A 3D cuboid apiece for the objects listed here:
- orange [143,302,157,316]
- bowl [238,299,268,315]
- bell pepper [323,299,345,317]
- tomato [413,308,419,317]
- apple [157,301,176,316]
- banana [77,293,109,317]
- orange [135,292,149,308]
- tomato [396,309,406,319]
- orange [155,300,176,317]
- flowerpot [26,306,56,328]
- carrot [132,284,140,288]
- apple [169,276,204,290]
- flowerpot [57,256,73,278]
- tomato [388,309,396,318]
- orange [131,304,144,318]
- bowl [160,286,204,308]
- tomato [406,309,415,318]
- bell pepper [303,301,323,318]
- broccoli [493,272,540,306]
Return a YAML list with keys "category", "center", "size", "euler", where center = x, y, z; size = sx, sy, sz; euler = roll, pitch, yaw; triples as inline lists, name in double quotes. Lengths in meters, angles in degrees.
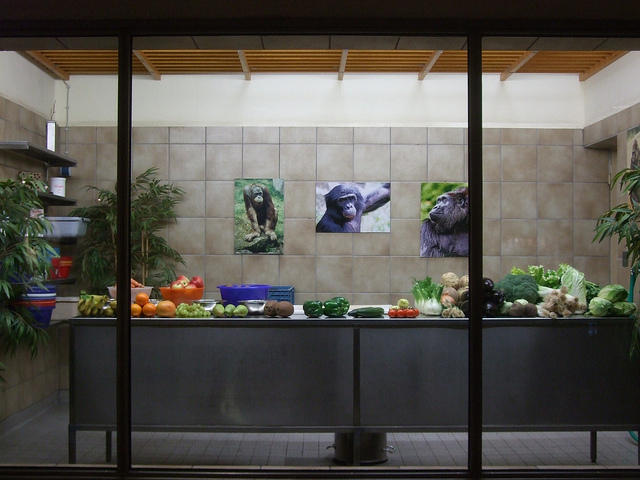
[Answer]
- category: "orange"
  center: [-1.114, 0.453, 3.789]
  size: [0.073, 0.080, 0.077]
  euler: [6, 11, -8]
- category: "bowl"
  center: [-0.452, 0.449, 3.864]
  size: [0.178, 0.085, 0.092]
  euler: [-2, -2, 5]
- category: "bell pepper"
  center: [0.096, 0.445, 3.826]
  size: [0.114, 0.099, 0.089]
  euler: [4, 3, -8]
- category: "tomato"
  center: [0.634, 0.474, 3.826]
  size: [0.020, 0.039, 0.038]
  euler: [4, -24, 9]
- category: "apple"
  center: [-1.011, 0.449, 3.792]
  size: [0.084, 0.089, 0.087]
  euler: [-5, 4, -26]
- category: "banana"
  center: [-1.501, 0.403, 3.861]
  size: [0.160, 0.140, 0.139]
  euler: [41, 6, 17]
- category: "orange"
  center: [-1.174, 0.393, 3.826]
  size: [0.075, 0.096, 0.076]
  euler: [0, 9, 3]
- category: "tomato"
  center: [0.527, 0.480, 3.787]
  size: [0.050, 0.051, 0.052]
  euler: [0, 13, -13]
- category: "orange"
  center: [-1.019, 0.436, 3.826]
  size: [0.095, 0.103, 0.102]
  euler: [-6, 3, -3]
- category: "flowerpot"
  center: [-2.121, 0.583, 4.426]
  size: [0.144, 0.121, 0.152]
  euler: [0, -2, 1]
- category: "carrot"
  center: [-1.276, 0.317, 4.016]
  size: [0.034, 0.019, 0.018]
  euler: [-1, 8, -21]
- category: "apple"
  center: [-1.000, 0.318, 4.322]
  size: [0.136, 0.081, 0.147]
  euler: [-1, -6, 1]
- category: "flowerpot"
  center: [-2.148, 0.226, 4.879]
  size: [0.079, 0.181, 0.251]
  euler: [-1, -2, -12]
- category: "tomato"
  center: [0.469, 0.477, 3.779]
  size: [0.041, 0.045, 0.042]
  euler: [-1, 10, -24]
- category: "orange"
  center: [-1.197, 0.454, 3.788]
  size: [0.068, 0.075, 0.085]
  euler: [16, 11, 2]
- category: "bowl"
  center: [-0.963, 0.393, 4.051]
  size: [0.288, 0.133, 0.193]
  euler: [-1, -2, -17]
- category: "tomato"
  center: [0.591, 0.480, 3.798]
  size: [0.044, 0.044, 0.044]
  euler: [-11, 12, -34]
- category: "bell pepper"
  center: [-0.045, 0.446, 3.761]
  size: [0.109, 0.099, 0.094]
  euler: [1, -4, -13]
- category: "broccoli"
  center: [1.339, 0.327, 3.939]
  size: [0.232, 0.147, 0.205]
  euler: [0, 0, 10]
